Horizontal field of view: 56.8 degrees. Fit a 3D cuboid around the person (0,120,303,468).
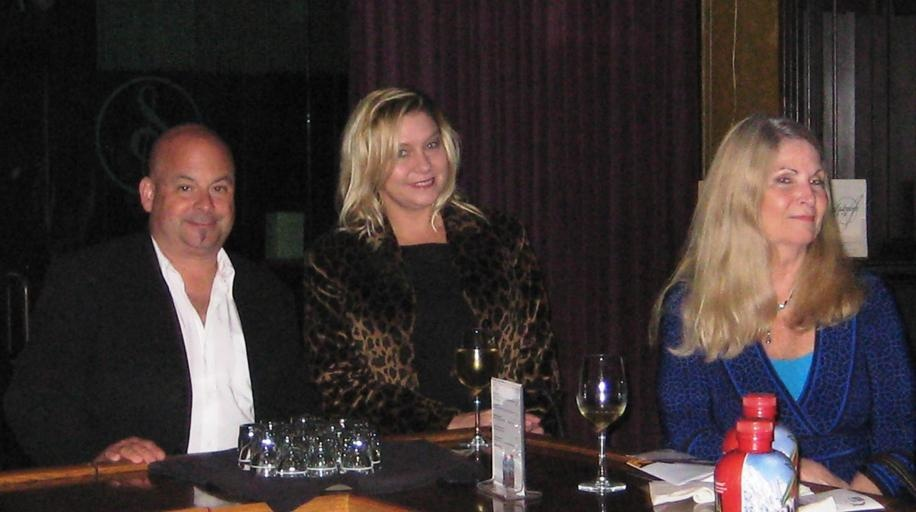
[{"bbox_3d":[-1.500,0.152,4.258,1.428,1.576,0.311,-3,-1,-20],"label":"person"}]
